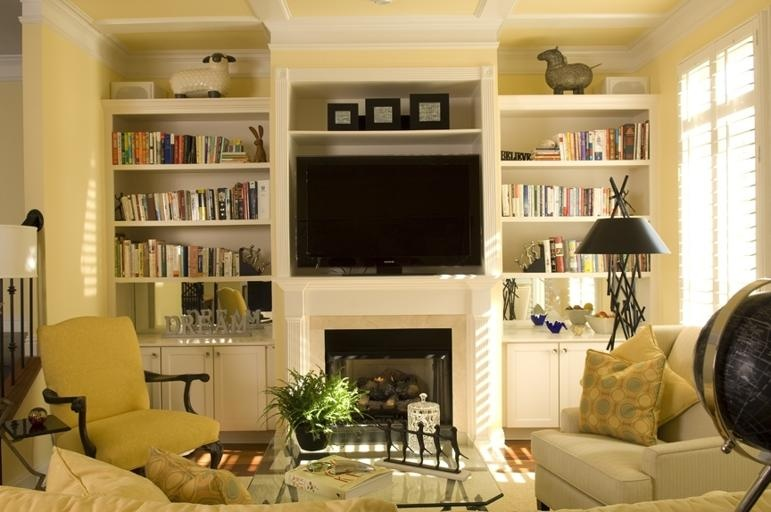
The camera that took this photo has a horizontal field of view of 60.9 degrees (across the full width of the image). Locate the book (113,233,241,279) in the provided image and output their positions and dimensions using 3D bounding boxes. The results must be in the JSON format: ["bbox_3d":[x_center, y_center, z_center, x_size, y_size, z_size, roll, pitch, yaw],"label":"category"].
[{"bbox_3d":[-1.908,0.026,6.016,1.115,0.368,0.163,0,-4,1],"label":"book"}]

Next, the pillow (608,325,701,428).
[{"bbox_3d":[1.816,0.927,4.618,0.151,0.754,0.777,12,-3,-26],"label":"pillow"}]

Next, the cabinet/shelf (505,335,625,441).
[{"bbox_3d":[1.528,1.117,5.897,0.949,0.816,0.360,-1,4,3],"label":"cabinet/shelf"}]

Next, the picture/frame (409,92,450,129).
[{"bbox_3d":[0.379,-1.247,5.657,0.330,0.293,0.024,-1,5,2],"label":"picture/frame"}]

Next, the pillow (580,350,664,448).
[{"bbox_3d":[1.608,0.983,4.414,0.596,0.615,0.242,-1,-18,44],"label":"pillow"}]

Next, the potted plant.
[{"bbox_3d":[-0.510,1.042,4.437,0.660,0.422,0.557,0,7,-27],"label":"potted plant"}]

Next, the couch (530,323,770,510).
[{"bbox_3d":[1.694,1.100,4.755,1.451,1.537,1.139,6,-11,-18],"label":"couch"}]

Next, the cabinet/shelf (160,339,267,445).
[{"bbox_3d":[-1.511,1.189,5.955,1.035,0.889,0.402,0,3,-1],"label":"cabinet/shelf"}]

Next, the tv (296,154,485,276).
[{"bbox_3d":[0.029,-0.388,5.760,1.659,0.954,0.169,0,1,12],"label":"tv"}]

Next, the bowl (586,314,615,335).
[{"bbox_3d":[1.929,0.597,5.871,0.176,0.103,0.205,1,0,-15],"label":"bowl"}]

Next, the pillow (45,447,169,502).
[{"bbox_3d":[-1.343,1.041,3.246,0.571,0.227,0.459,14,-19,-5],"label":"pillow"}]

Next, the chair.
[{"bbox_3d":[-1.876,1.150,4.771,1.128,1.272,1.052,6,5,36],"label":"chair"}]

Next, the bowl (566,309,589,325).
[{"bbox_3d":[1.727,0.543,5.888,0.152,0.083,0.148,0,1,0],"label":"bowl"}]
